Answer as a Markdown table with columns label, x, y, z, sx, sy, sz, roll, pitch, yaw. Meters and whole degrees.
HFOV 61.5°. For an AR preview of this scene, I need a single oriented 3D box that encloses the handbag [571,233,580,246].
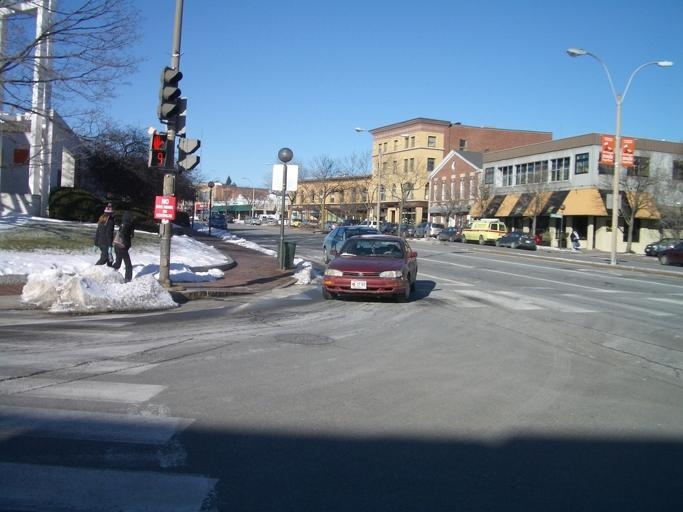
| label | x | y | z | sx | sy | sz | roll | pitch | yaw |
| --- | --- | --- | --- | --- | --- | --- | --- | --- | --- |
| handbag | 18.394 | -1.195 | 45.052 | 0.503 | 1.325 | 1.162 | 4 | 5 | 26 |

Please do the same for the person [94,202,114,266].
| label | x | y | z | sx | sy | sz | roll | pitch | yaw |
| --- | --- | --- | --- | --- | --- | --- | --- | --- | --- |
| person | -6.260 | -0.557 | 15.174 | 0.445 | 1.651 | 0.954 | 1 | 4 | -23 |
